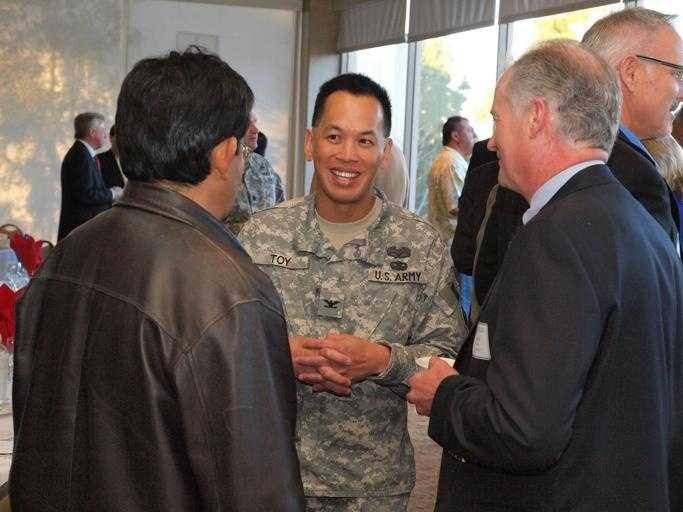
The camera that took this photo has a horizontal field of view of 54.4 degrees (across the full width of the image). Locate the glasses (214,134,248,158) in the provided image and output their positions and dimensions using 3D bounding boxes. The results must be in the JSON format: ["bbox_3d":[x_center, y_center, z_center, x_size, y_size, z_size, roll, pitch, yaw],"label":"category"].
[{"bbox_3d":[-0.257,-0.259,1.562,0.047,0.053,0.015,4,-3,19],"label":"glasses"}]
